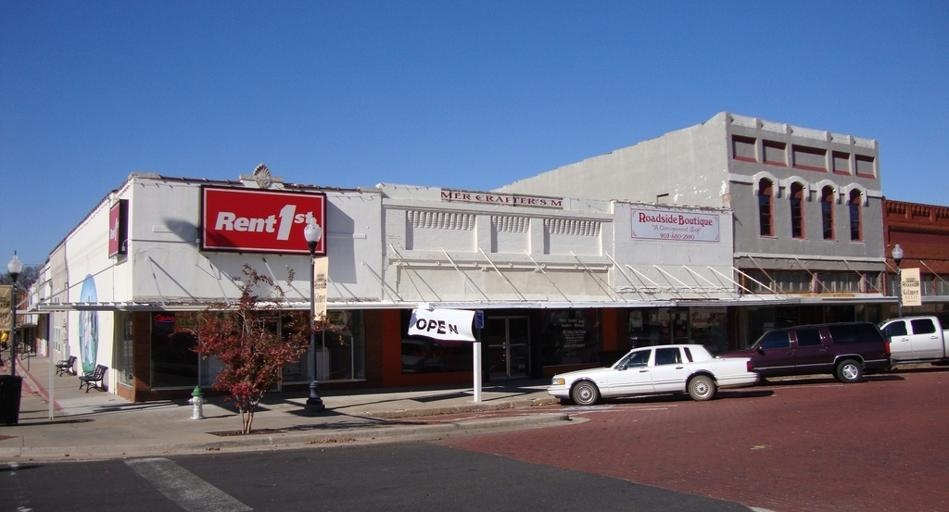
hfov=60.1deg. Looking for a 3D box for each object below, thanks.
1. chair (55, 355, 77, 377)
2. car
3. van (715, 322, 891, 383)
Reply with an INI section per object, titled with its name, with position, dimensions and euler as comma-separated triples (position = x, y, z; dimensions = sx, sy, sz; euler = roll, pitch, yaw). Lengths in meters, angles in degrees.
[chair]
position = -24.465, 6.599, 49.039
dimensions = 0.837, 0.802, 1.340
euler = 4, -8, -43
[car]
position = 8.024, 5.426, 37.331
dimensions = 9.566, 2.305, 3.241
euler = -2, -9, 4
[van]
position = 15.768, 4.611, 39.516
dimensions = 7.467, 2.283, 3.251
euler = 1, -8, -4
